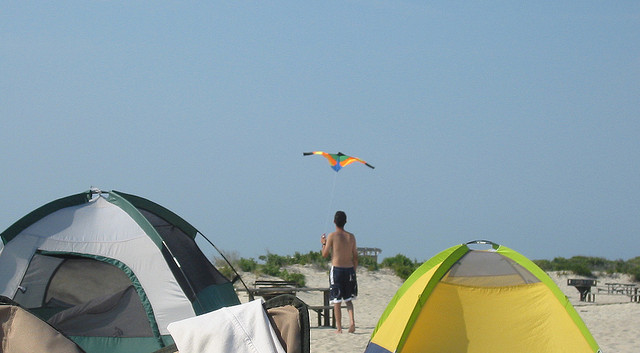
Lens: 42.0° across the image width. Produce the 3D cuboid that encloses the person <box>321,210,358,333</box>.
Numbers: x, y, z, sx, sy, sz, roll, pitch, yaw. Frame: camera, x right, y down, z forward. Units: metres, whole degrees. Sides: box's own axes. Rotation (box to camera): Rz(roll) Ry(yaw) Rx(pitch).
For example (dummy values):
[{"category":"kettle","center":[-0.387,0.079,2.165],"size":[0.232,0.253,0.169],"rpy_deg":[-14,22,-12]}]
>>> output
[{"category":"person","center":[0.528,2.605,22.370],"size":[0.953,3.340,1.090],"rpy_deg":[-1,1,-7]}]
